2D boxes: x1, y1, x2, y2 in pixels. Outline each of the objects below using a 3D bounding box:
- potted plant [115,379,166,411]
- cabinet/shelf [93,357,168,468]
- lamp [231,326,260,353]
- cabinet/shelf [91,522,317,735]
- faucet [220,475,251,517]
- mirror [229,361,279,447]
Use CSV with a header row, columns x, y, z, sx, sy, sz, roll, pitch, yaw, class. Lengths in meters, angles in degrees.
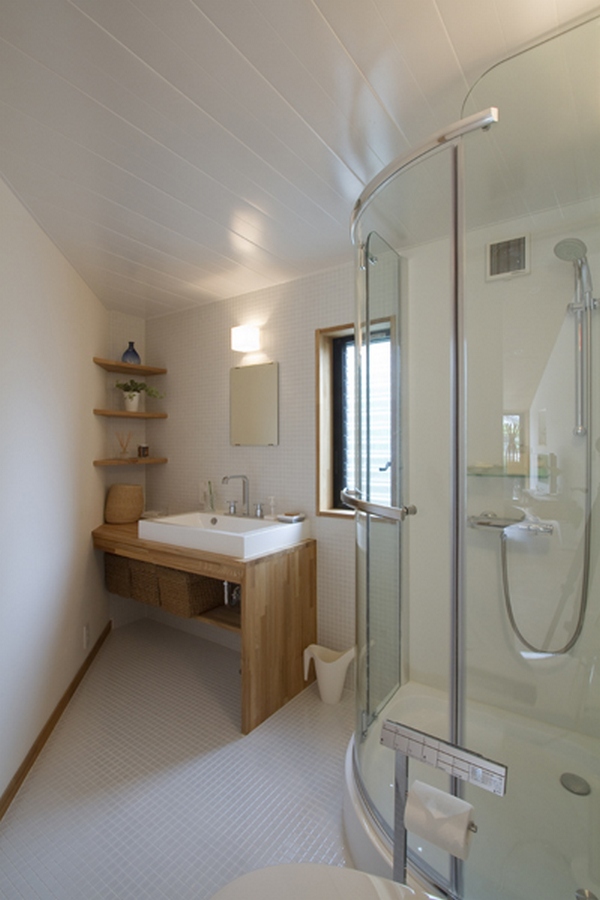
x,y,z,sx,sy,sz,roll,pitch,yaw,class
-0.997,-0.334,3.834,0.190,0.173,0.218,1,1,-8,potted plant
-1.036,-0.234,3.745,0.174,0.667,0.601,0,-1,14,cabinet/shelf
-0.285,-0.570,3.267,0.115,0.117,0.135,-1,3,4,lamp
-0.487,0.765,3.021,0.978,0.785,0.577,5,9,30,cabinet/shelf
-0.357,0.245,3.394,0.145,0.211,0.287,-1,3,-8,faucet
-0.247,-0.243,3.307,0.051,0.434,0.374,-3,4,-42,mirror
